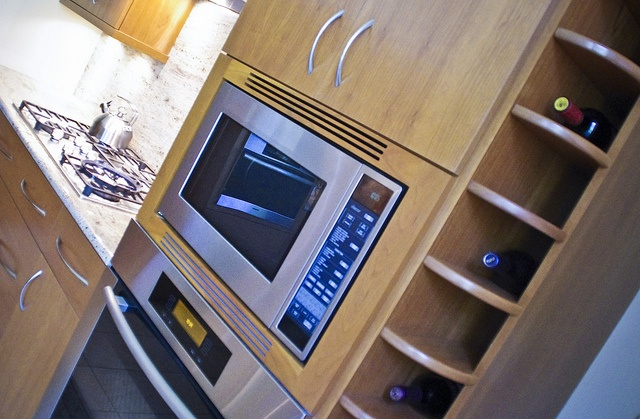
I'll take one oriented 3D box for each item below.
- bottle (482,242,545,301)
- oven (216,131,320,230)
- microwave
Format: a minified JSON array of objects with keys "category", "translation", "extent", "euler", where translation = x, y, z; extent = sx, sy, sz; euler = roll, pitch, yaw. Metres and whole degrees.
[{"category":"bottle","translation":[0.575,0.183,1.440],"extent":[0.187,0.182,0.108],"euler":[7,-2,-9]},{"category":"oven","translation":[-0.170,-0.121,1.625],"extent":[0.356,0.248,0.210],"euler":[20,32,-6]},{"category":"microwave","translation":[-0.105,0.059,1.483],"extent":[0.789,0.532,0.425],"euler":[40,9,28]}]
